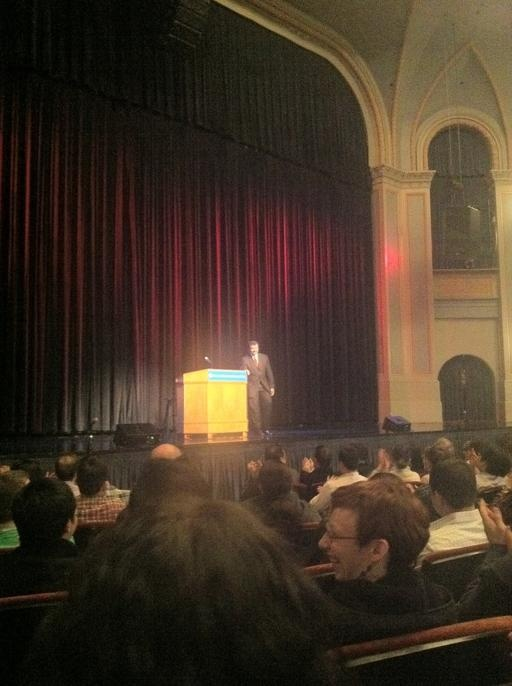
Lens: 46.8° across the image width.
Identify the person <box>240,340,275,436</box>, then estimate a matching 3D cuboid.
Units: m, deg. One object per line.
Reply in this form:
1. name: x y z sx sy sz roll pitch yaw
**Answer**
1. person: 0.020 0.547 7.344 0.409 1.129 0.724 3 3 -1
